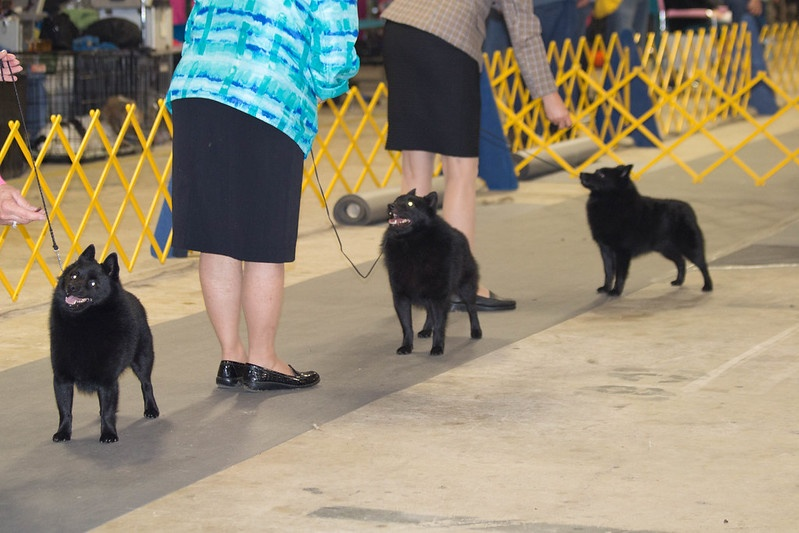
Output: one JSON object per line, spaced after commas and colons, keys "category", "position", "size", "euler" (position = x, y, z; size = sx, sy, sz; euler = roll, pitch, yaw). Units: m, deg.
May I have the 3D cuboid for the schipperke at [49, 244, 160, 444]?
{"category": "schipperke", "position": [-1.442, 0.375, 5.266], "size": [0.543, 0.964, 0.356], "euler": [-6, 13, -24]}

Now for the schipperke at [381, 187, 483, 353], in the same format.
{"category": "schipperke", "position": [0.209, 0.028, 6.347], "size": [0.571, 0.960, 0.393], "euler": [-11, 16, -43]}

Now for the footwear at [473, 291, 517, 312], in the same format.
{"category": "footwear", "position": [0.624, 0.236, 7.071], "size": [0.357, 0.095, 0.102], "euler": [-2, 0, -13]}

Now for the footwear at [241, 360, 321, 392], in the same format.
{"category": "footwear", "position": [-0.636, 0.605, 5.854], "size": [0.445, 0.114, 0.147], "euler": [-2, 1, -27]}
